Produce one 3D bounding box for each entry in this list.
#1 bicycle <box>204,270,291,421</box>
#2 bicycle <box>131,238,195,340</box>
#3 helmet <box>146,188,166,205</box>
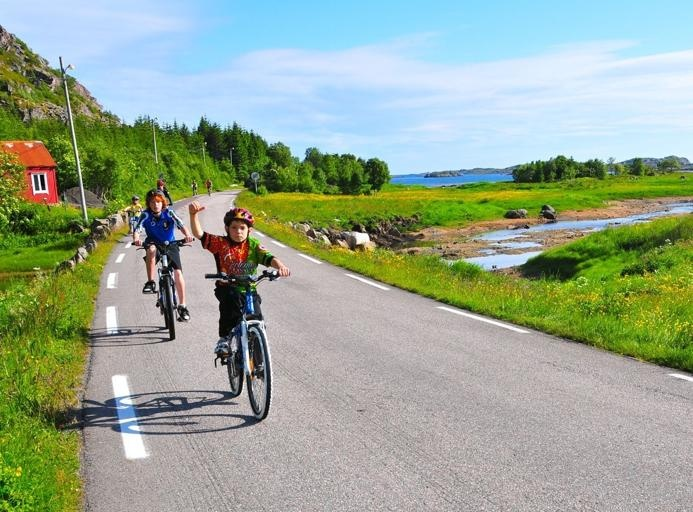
[{"bbox_3d":[-1.312,1.178,7.257,0.568,1.875,1.218,-5,11,-29],"label":"bicycle"},{"bbox_3d":[-3.175,0.599,10.009,0.473,1.675,0.998,-2,10,-19],"label":"bicycle"},{"bbox_3d":[-3.507,-1.046,10.193,0.295,0.315,0.513,0,9,-6],"label":"helmet"}]
